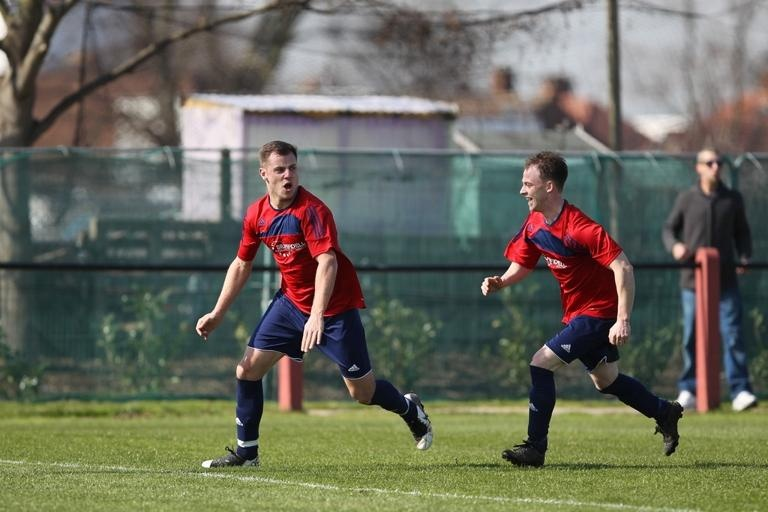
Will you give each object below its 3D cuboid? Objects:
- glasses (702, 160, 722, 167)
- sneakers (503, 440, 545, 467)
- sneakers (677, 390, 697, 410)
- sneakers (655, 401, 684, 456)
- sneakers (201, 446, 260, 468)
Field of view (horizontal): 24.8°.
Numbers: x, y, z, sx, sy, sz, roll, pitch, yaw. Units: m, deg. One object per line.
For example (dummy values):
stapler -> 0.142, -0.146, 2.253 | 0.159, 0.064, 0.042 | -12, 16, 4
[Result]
glasses -> 3.455, -0.975, 18.248 | 0.178, 0.084, 0.060 | 0, -1, 8
sneakers -> 1.305, 1.792, 16.128 | 0.428, 0.214, 0.186 | 9, -2, 2
sneakers -> 3.260, 1.519, 18.715 | 0.200, 0.208, 0.520 | 0, -9, 7
sneakers -> 2.675, 1.526, 16.244 | 0.302, 0.530, 0.202 | -3, 13, -2
sneakers -> -1.394, 1.814, 16.061 | 0.599, 0.215, 0.196 | 1, -4, -2
